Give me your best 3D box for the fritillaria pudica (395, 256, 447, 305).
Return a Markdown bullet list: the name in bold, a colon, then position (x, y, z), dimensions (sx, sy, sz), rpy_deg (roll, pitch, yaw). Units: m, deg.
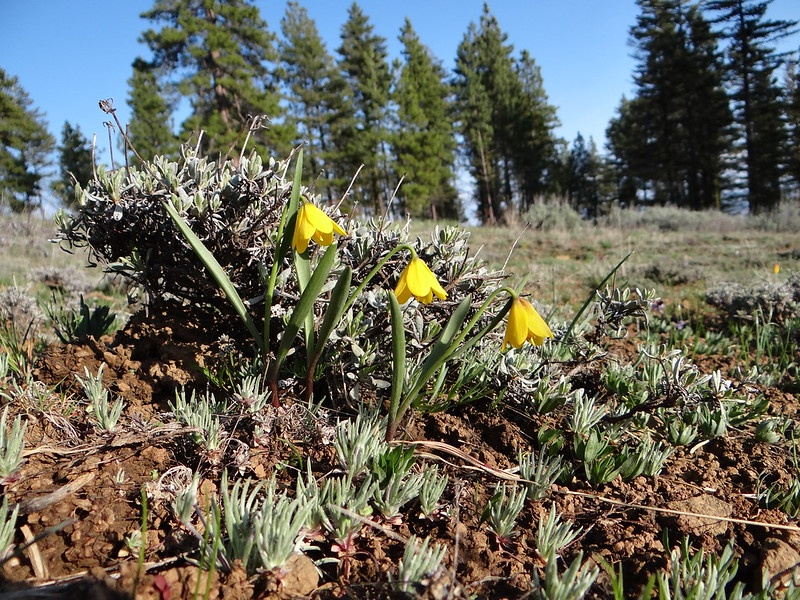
- **fritillaria pudica**: position (0.100, -0.124, 3.551), dimensions (0.242, 0.292, 0.217), rpy_deg (7, -16, -41)
